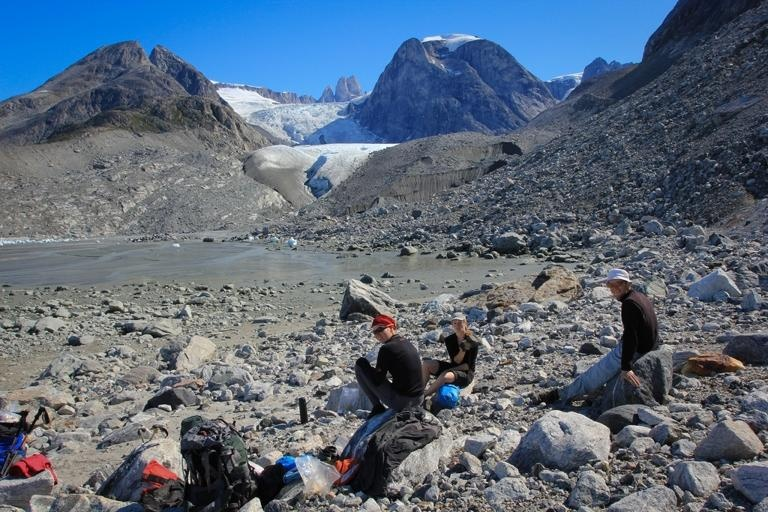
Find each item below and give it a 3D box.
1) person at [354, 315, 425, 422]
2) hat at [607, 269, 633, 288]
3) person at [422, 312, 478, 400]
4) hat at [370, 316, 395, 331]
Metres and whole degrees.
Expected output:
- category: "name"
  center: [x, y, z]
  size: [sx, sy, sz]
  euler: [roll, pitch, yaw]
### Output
- category: "person"
  center: [0.105, 1.752, 10.660]
  size: [1.057, 1.520, 0.592]
  euler: [4, 15, 24]
- category: "hat"
  center: [4.128, 0.339, 10.716]
  size: [0.408, 0.155, 0.334]
  euler: [-6, 1, 6]
- category: "person"
  center: [1.239, 1.773, 11.498]
  size: [1.110, 1.308, 0.631]
  euler: [-9, 15, -29]
- category: "hat"
  center: [-0.006, 1.101, 10.779]
  size: [0.338, 0.197, 0.255]
  euler: [3, -4, -18]
